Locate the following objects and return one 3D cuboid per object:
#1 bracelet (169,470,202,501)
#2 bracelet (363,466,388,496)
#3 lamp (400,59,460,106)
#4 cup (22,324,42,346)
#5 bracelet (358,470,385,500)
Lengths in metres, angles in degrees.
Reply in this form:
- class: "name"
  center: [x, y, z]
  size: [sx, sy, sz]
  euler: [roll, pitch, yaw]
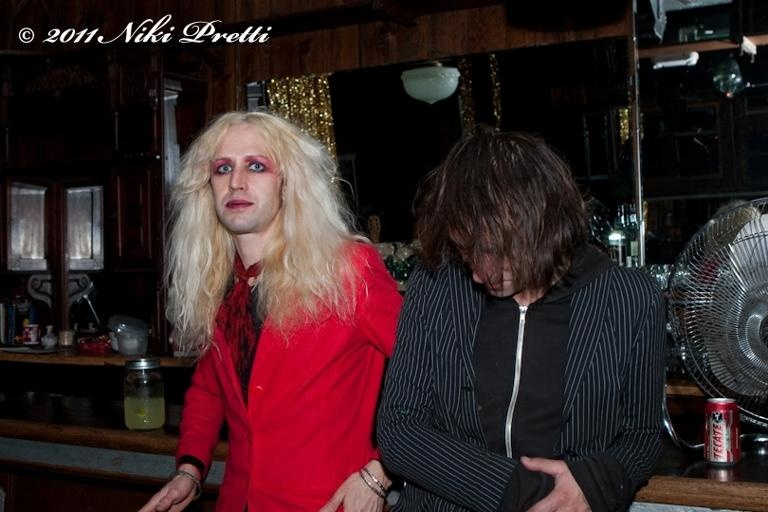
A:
- class: "bracelet"
  center: [-0.663, 0.774, 2.225]
  size: [0.104, 0.090, 0.041]
  euler: [36, -2, -6]
- class: "bracelet"
  center: [-0.035, 0.693, 1.990]
  size: [0.072, 0.018, 0.075]
  euler: [44, -10, 17]
- class: "lamp"
  center: [0.288, -1.073, 4.122]
  size: [0.375, 0.222, 0.380]
  euler: [3, 23, 26]
- class: "cup"
  center: [-2.853, 0.656, 5.375]
  size: [0.167, 0.166, 0.131]
  euler: [3, -7, -22]
- class: "bracelet"
  center: [-0.036, 0.695, 1.989]
  size: [0.080, 0.019, 0.083]
  euler: [46, -8, 12]
